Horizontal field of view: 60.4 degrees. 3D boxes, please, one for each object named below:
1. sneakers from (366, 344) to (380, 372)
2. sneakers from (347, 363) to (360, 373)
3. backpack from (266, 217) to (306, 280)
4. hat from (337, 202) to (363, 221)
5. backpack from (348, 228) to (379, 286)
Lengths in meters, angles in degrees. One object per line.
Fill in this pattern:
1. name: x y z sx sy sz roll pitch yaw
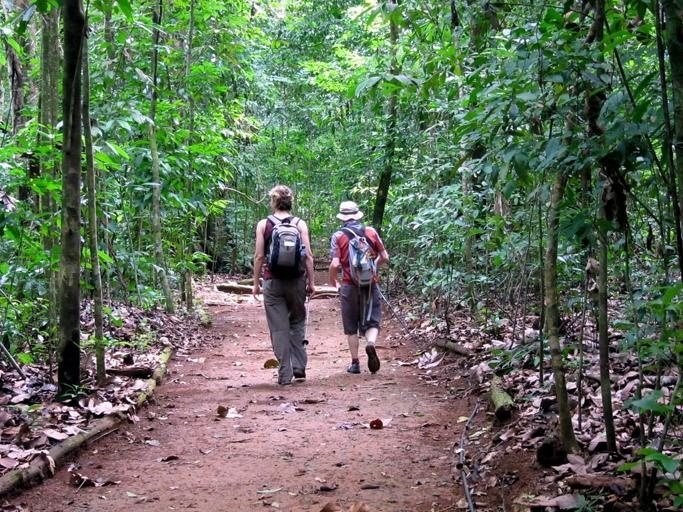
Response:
1. sneakers: 0.353 1.178 6.593 0.133 0.354 0.150 -6 7 2
2. sneakers: 0.149 1.290 6.781 0.155 0.138 0.150 -1 3 1
3. backpack: -0.596 -0.087 6.344 0.423 0.635 0.374 4 7 -12
4. hat: 0.119 -0.522 7.139 0.282 0.173 0.327 -1 5 11
5. backpack: 0.218 0.012 6.968 0.399 0.742 0.533 -8 -8 13
